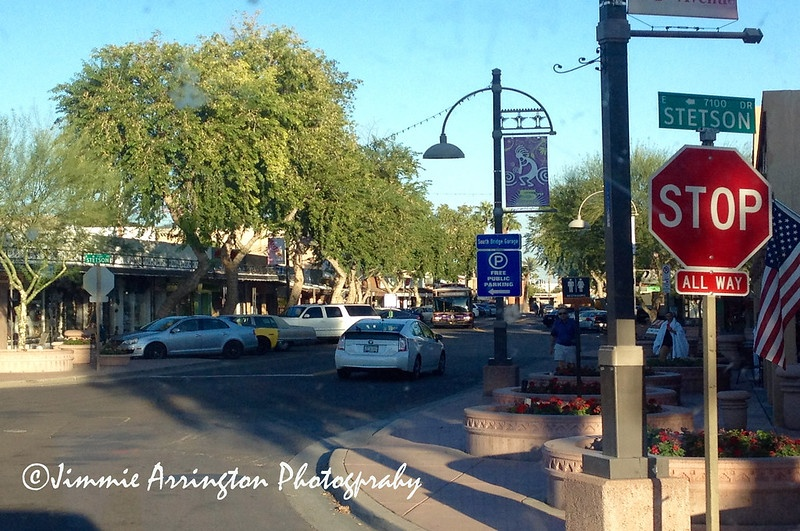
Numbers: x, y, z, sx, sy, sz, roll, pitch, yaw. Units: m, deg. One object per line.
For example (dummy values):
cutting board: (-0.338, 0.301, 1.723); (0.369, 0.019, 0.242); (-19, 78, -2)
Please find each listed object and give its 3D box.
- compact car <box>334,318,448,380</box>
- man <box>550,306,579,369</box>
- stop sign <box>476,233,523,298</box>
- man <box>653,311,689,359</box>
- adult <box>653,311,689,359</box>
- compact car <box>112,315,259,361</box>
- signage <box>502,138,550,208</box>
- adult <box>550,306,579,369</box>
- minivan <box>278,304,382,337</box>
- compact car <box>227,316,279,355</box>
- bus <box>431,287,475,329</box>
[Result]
compact car: (-0.195, 2.404, 27.098); (1.878, 1.710, 3.390); (-3, -3, 36)
man: (4.158, 1.803, 24.087); (0.577, 1.414, 1.375); (-1, -2, 8)
stop sign: (2.255, 0.024, 21.872); (1.066, 1.577, 0.111); (-1, -20, 5)
man: (7.122, 2.047, 24.977); (0.819, 1.553, 0.673); (-1, 2, 18)
adult: (7.096, 2.087, 24.959); (0.837, 1.506, 0.687); (-3, -6, 28)
compact car: (-7.840, 2.710, 34.833); (3.877, 1.344, 1.646); (5, -6, -33)
signage: (2.943, -2.197, 22.147); (0.988, 1.743, 0.688); (-1, -2, 3)
adult: (4.159, 1.804, 24.092); (0.577, 1.414, 1.365); (-1, -2, 8)
minivan: (-3.503, 2.502, 45.375); (4.287, 1.620, 2.054); (2, -2, -5)
compact car: (-5.906, 2.751, 38.881); (2.195, 0.997, 1.038); (4, -6, -28)
bus: (3.627, 3.019, 65.607); (2.245, 2.329, 4.995); (-1, -7, 6)
